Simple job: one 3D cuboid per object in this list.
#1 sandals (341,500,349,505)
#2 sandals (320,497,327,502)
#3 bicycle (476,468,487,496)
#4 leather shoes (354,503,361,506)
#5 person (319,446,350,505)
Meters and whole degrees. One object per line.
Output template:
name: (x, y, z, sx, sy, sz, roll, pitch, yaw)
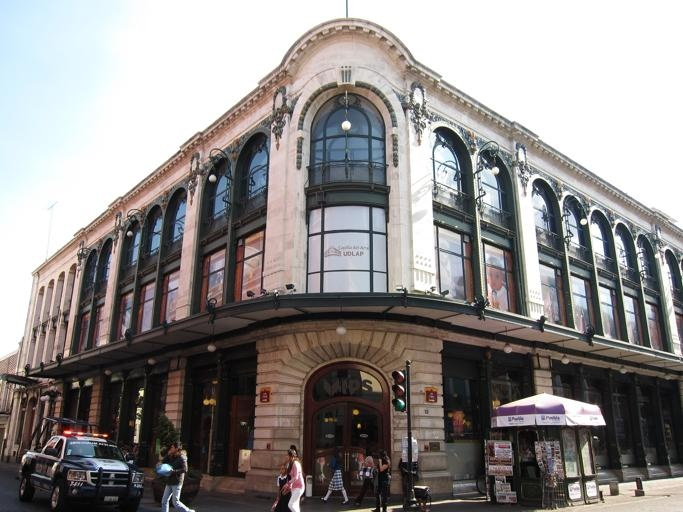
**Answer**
sandals: (0.154, 10.376, 22.843, 0.241, 0.175, 0.533, 1, -27, -2)
sandals: (-0.700, 10.331, 23.022, 0.204, 0.181, 0.630, 6, -27, -13)
bicycle: (6.649, 10.700, 25.739, 0.470, 1.345, 2.695, -6, -27, 12)
leather shoes: (0.679, 10.200, 22.263, 0.270, 0.150, 0.448, 2, -27, -3)
person: (-0.224, 9.508, 23.548, 1.116, 2.301, 1.247, 0, -26, 0)
